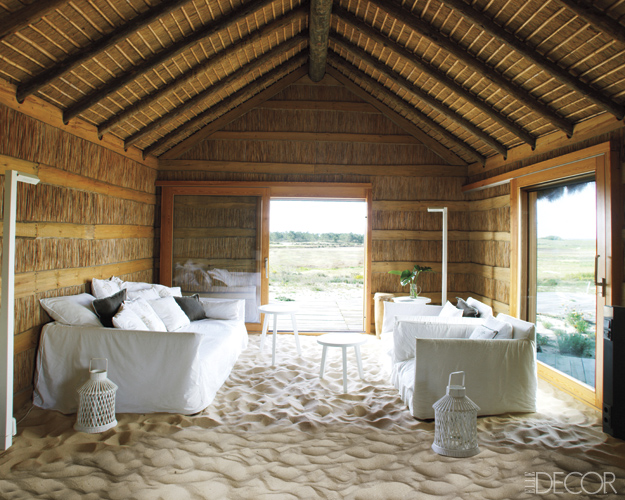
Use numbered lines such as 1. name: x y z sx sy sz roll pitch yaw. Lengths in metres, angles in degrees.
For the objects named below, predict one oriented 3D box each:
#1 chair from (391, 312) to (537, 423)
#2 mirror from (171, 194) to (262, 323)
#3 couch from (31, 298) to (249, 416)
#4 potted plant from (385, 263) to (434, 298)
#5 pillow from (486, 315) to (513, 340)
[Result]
1. chair: 1.361 0.998 4.201 1.064 0.571 0.986 1 -5 0
2. mirror: -1.409 0.130 6.867 1.421 1.739 0.087 5 8 17
3. couch: -1.409 0.896 4.474 1.344 0.916 1.823 6 10 35
4. potted plant: 1.468 0.446 6.405 0.482 0.287 0.440 13 30 9
5. pillow: 1.650 0.684 4.141 0.064 0.114 0.180 40 -2 -5
